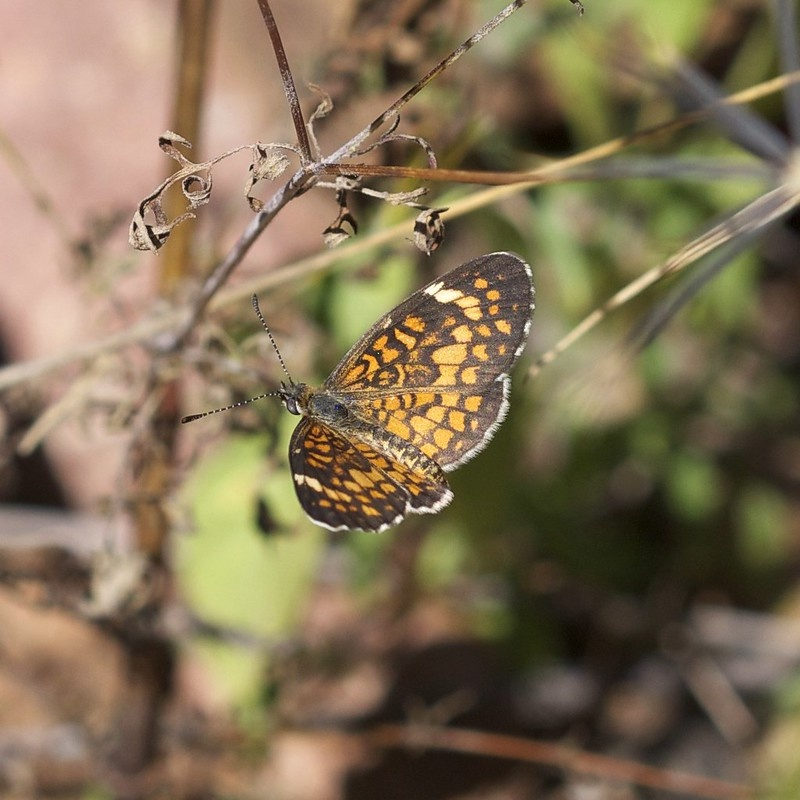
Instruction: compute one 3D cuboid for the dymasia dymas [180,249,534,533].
[{"bbox_3d":[0.014,0.015,1.069,0.416,0.223,0.149,-24,-30,19],"label":"dymasia dymas"}]
